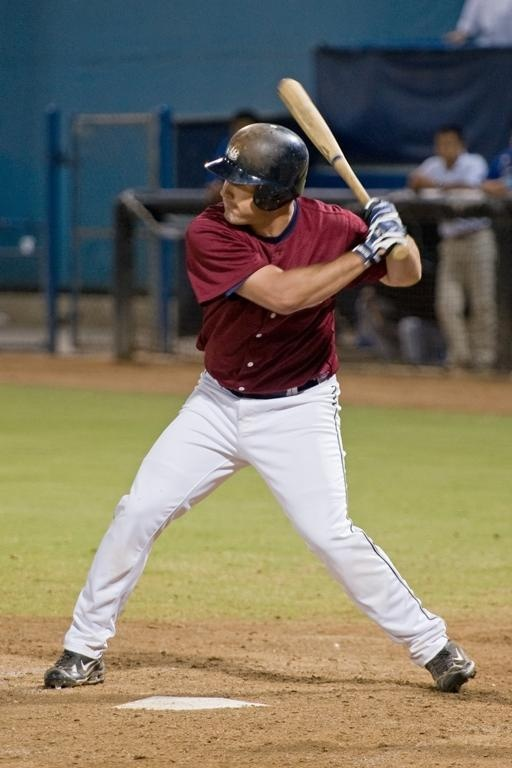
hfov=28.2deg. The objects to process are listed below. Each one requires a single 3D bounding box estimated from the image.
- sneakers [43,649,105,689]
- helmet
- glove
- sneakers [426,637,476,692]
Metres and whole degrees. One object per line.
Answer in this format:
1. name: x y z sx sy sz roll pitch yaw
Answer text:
1. sneakers: -0.428 0.686 2.457 0.064 0.079 0.173 -6 -11 37
2. helmet: 0.014 -0.521 2.356 0.275 0.184 0.195 3 29 -13
3. glove: 0.265 -0.362 2.362 0.112 0.071 0.195 40 28 -5
4. sneakers: 0.471 0.658 2.425 0.137 0.061 0.188 31 -4 15
